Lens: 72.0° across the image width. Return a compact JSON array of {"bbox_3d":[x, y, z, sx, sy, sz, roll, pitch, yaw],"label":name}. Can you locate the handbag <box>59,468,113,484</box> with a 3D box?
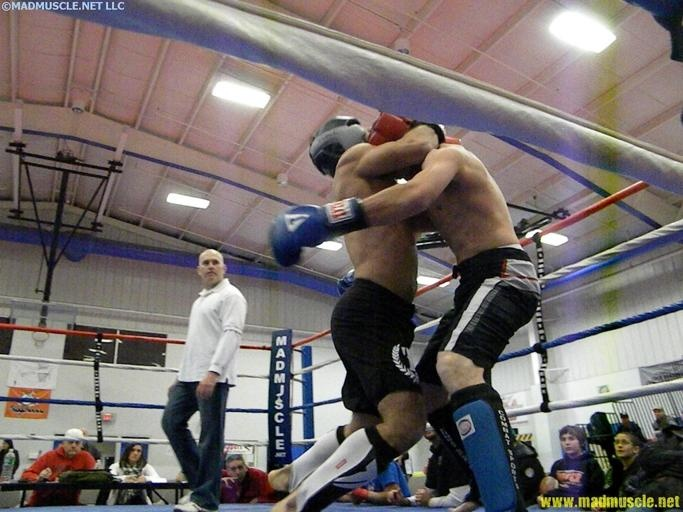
[{"bbox_3d":[-2.036,1.777,3.760,0.190,0.109,0.380,-16,-27,25],"label":"handbag"}]

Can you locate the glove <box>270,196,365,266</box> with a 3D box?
[{"bbox_3d":[-0.102,-0.093,1.616,0.313,0.188,0.129,-12,18,-14],"label":"glove"}]
